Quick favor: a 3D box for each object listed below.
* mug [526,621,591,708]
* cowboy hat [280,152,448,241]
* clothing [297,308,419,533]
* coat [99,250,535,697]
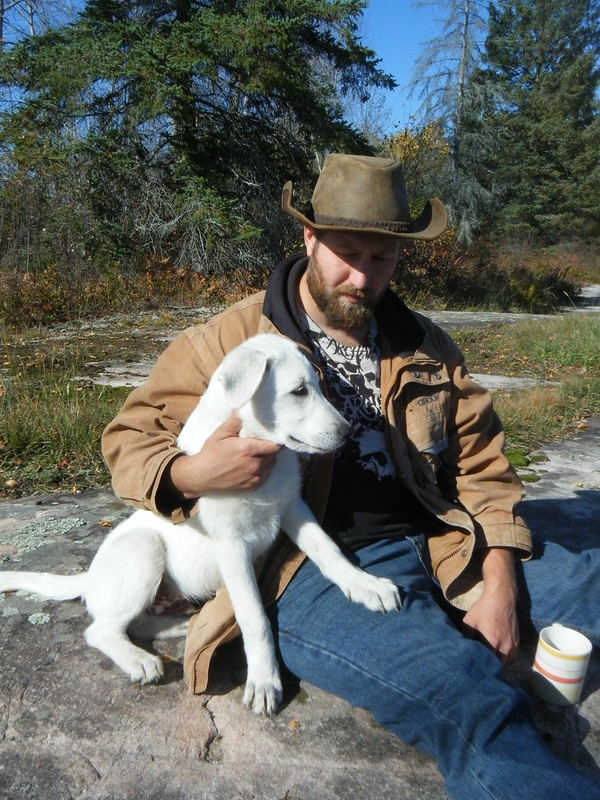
[{"bbox_3d":[0.892,0.931,2.349,0.185,0.215,0.273,5,9,10],"label":"mug"},{"bbox_3d":[0.278,-0.850,2.758,0.565,0.354,0.614,4,14,23],"label":"cowboy hat"},{"bbox_3d":[0.262,0.158,2.662,0.274,0.724,0.656,-5,2,17],"label":"clothing"},{"bbox_3d":[0.146,0.109,3.066,1.580,0.868,1.844,-6,17,-8],"label":"coat"}]
